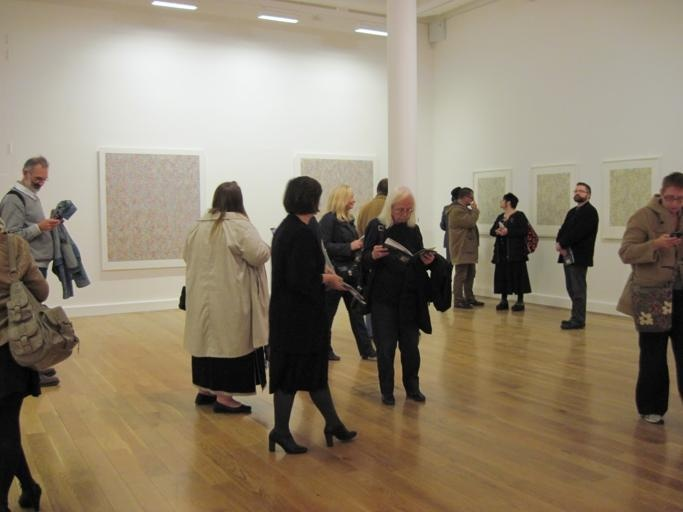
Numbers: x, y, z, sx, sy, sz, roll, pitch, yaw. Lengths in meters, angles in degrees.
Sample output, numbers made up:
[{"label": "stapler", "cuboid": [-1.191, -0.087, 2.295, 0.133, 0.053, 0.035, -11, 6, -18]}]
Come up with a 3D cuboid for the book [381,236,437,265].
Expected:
[{"label": "book", "cuboid": [0.566, -0.039, 4.159, 0.314, 0.122, 0.239, 35, -9, -8]}]

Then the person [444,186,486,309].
[{"label": "person", "cuboid": [2.230, -0.170, 9.112, 0.685, 2.113, 1.010, 3, 9, 14]}]

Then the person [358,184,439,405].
[{"label": "person", "cuboid": [0.483, 0.373, 4.405, 0.631, 1.925, 0.507, 1, 9, 3]}]

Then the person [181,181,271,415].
[{"label": "person", "cuboid": [-0.948, 0.287, 4.172, 0.729, 1.735, 0.389, 0, 9, -4]}]

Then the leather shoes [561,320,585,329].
[{"label": "leather shoes", "cuboid": [3.271, 0.987, 7.203, 0.198, 0.085, 0.162, 4, 0, 10]}]

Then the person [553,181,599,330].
[{"label": "person", "cuboid": [3.350, -0.011, 7.291, 0.510, 2.073, 0.753, 5, 10, 26]}]

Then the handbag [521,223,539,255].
[{"label": "handbag", "cuboid": [3.366, -0.303, 8.923, 0.199, 0.587, 0.688, 4, 10, 22]}]

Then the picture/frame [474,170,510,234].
[{"label": "picture/frame", "cuboid": [2.887, -1.046, 9.657, 0.034, 1.759, 1.107, -2, 5, -29]}]

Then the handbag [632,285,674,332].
[{"label": "handbag", "cuboid": [2.402, 0.408, 3.921, 0.276, 0.368, 0.159, 7, 10, 33]}]

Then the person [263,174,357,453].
[{"label": "person", "cuboid": [-0.240, 0.445, 3.550, 0.544, 1.989, 0.355, -1, 9, -10]}]

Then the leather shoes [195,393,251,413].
[{"label": "leather shoes", "cuboid": [-1.053, 1.313, 4.446, 0.377, 0.180, 0.213, 1, -2, -15]}]

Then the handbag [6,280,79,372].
[{"label": "handbag", "cuboid": [-1.589, 0.360, 2.696, 0.310, 0.463, 0.186, -5, 10, -32]}]

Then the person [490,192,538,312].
[{"label": "person", "cuboid": [2.926, -0.079, 8.667, 0.731, 1.967, 0.642, 3, 9, 17]}]
